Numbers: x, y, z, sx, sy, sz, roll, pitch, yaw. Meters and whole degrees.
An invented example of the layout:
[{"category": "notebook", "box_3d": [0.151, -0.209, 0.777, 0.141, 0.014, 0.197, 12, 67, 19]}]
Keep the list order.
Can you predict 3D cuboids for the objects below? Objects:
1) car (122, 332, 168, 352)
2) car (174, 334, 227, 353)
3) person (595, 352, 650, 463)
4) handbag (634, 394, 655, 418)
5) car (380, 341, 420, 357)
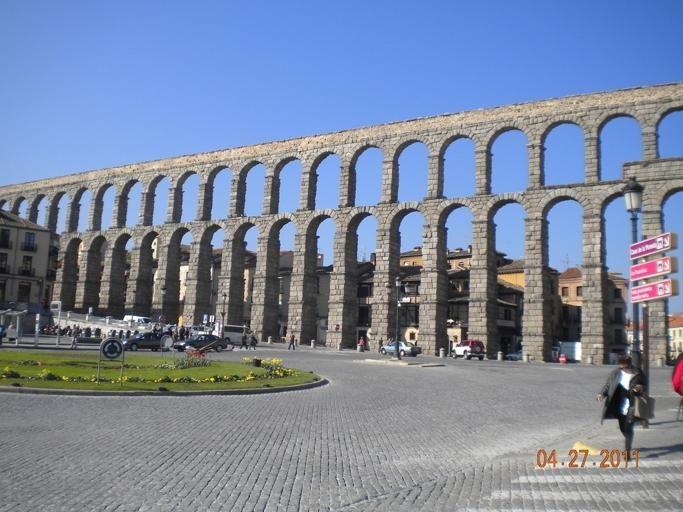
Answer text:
[{"category": "car", "box_3d": [-13.815, 6.019, 47.990, 2.034, 1.492, 3.188, -9, -15, 35]}, {"category": "car", "box_3d": [-9.840, 6.104, 47.942, 3.194, 1.477, 3.539, 2, -12, -8]}, {"category": "person", "box_3d": [5.714, 3.021, 13.919, 0.879, 1.980, 0.644, -7, -15, 30]}, {"category": "handbag", "box_3d": [6.065, 3.060, 13.799, 0.283, 0.490, 0.604, -8, -15, 33]}, {"category": "car", "box_3d": [4.222, 7.815, 55.235, 3.745, 1.109, 1.657, 2, -5, 27]}]
